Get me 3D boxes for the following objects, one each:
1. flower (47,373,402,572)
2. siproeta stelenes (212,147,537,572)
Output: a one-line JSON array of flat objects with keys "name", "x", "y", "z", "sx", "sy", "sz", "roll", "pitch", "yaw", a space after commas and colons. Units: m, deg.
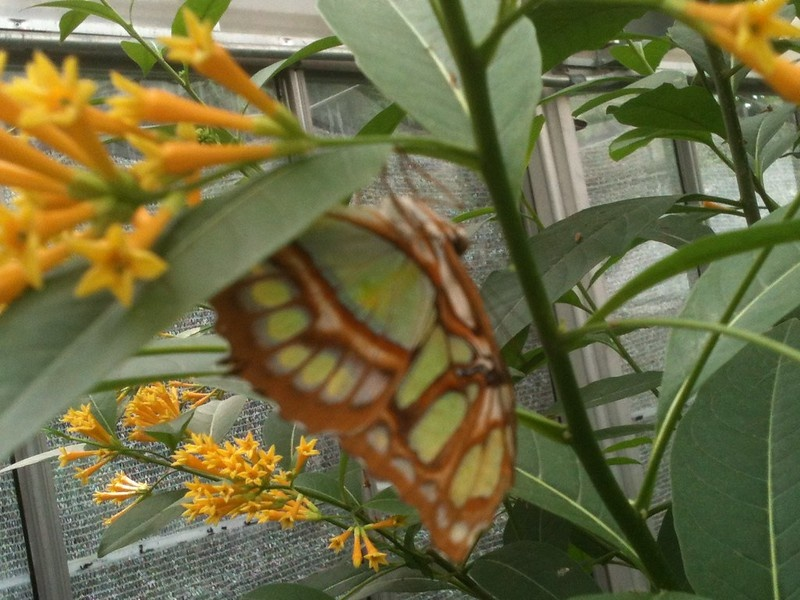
[{"name": "flower", "x": -0.245, "y": 0.260, "z": 1.396, "sx": 0.530, "sy": 0.154, "sz": 0.497, "roll": 24, "pitch": -8, "yaw": -13}, {"name": "siproeta stelenes", "x": -0.017, "y": 0.071, "z": 0.712, "sx": 0.281, "sy": 0.314, "sz": 0.123, "roll": -4, "pitch": -5, "yaw": -13}]
